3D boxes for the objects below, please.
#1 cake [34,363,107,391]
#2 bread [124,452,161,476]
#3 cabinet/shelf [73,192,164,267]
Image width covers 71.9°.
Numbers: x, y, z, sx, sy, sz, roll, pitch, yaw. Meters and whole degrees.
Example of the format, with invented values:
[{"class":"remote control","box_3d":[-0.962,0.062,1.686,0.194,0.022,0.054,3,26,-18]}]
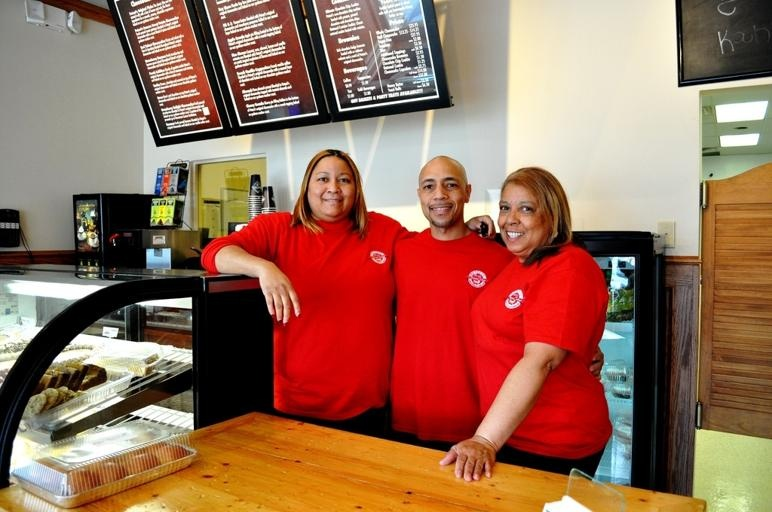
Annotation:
[{"class":"cake","box_3d":[-1.225,0.463,2.051,0.154,0.036,0.132,16,32,9]},{"class":"bread","box_3d":[-0.829,0.691,1.792,0.060,0.029,0.089,-3,-3,34]},{"class":"cabinet/shelf","box_3d":[-2.263,-0.232,4.404,0.658,0.586,0.434,-5,6,-20]}]
